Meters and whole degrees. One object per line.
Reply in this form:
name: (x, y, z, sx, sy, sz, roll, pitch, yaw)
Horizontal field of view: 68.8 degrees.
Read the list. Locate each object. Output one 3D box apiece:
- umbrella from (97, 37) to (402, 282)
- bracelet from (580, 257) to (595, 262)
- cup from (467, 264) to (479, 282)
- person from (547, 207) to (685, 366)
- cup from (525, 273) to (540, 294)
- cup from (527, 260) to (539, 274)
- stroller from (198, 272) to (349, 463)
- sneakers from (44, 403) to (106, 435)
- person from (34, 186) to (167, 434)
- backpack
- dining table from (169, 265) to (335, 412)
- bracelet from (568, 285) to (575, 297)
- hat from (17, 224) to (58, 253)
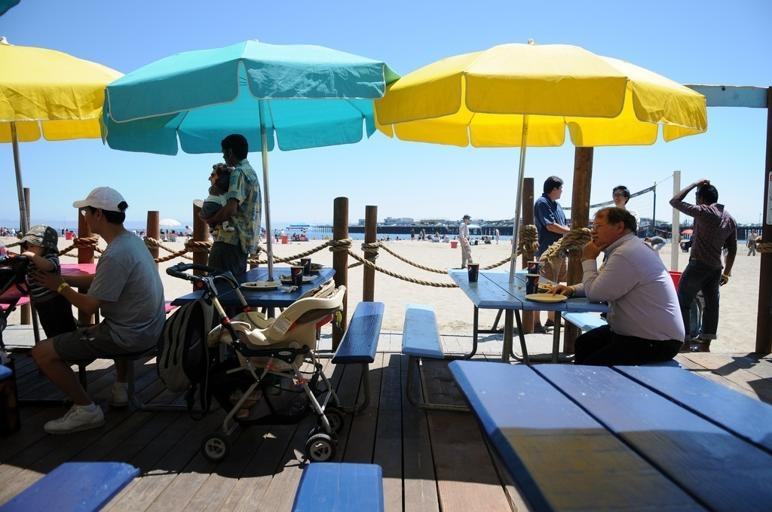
umbrella: (-1.484, -1.006, 5.888, 2.089, 1.597, 2.317, 0, 8, 21)
bracelet: (1.911, 0.028, 5.310, 0.085, 0.036, 0.087, 0, -1, 14)
cup: (0.929, 0.177, 6.041, 0.163, 0.208, 0.175, -2, 4, 0)
person: (2.204, 0.504, 5.412, 1.214, 1.847, 0.769, 0, 0, 27)
cup: (1.404, 0.256, 5.460, 0.162, 0.182, 0.172, 0, -4, 0)
cup: (1.499, 0.113, 5.729, 0.130, 0.111, 0.142, 0, -4, 0)
stroller: (-0.935, 0.870, 4.935, 1.237, 1.532, 0.929, -1, 5, 8)
sneakers: (-2.690, 1.417, 4.934, 0.537, 0.236, 0.205, 3, -1, -18)
person: (-2.559, 0.455, 5.032, 1.071, 2.121, 0.813, -4, 8, -23)
backpack: (-1.652, 0.729, 4.655, 0.459, 0.714, 0.253, -4, 7, -20)
dining table: (-1.134, 0.667, 4.912, 1.426, 1.188, 0.843, 1, 5, 1)
bracelet: (1.762, 0.336, 5.376, 0.036, 0.096, 0.069, 2, 9, 1)
hat: (-3.178, -0.165, 5.267, 0.294, 0.230, 0.388, 1, -7, 11)
